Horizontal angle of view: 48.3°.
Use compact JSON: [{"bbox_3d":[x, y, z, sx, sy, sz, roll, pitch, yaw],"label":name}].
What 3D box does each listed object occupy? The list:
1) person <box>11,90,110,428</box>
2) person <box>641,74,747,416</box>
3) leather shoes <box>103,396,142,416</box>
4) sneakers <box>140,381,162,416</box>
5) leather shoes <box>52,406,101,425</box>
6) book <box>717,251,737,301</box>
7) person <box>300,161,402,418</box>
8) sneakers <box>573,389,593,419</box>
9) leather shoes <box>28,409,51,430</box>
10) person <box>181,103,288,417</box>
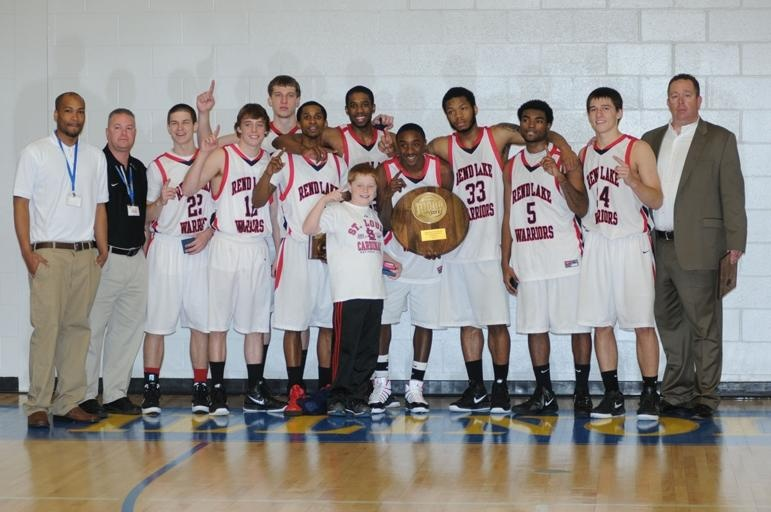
[{"bbox_3d":[-2.749,0.032,7.322,0.755,2.801,0.505,-3,7,-21],"label":"person"},{"bbox_3d":[2.662,-0.092,7.414,0.804,2.904,0.579,1,6,16],"label":"person"},{"bbox_3d":[-2.376,1.352,7.684,0.370,0.147,0.149,-1,-6,18],"label":"leather shoes"},{"bbox_3d":[-2.117,1.278,7.661,0.158,0.250,0.312,-3,8,-18],"label":"sneakers"},{"bbox_3d":[-2.670,1.394,7.429,0.423,0.179,0.162,-3,-2,10],"label":"leather shoes"},{"bbox_3d":[2.911,0.225,7.356,0.035,0.362,0.361,11,12,26],"label":"book"},{"bbox_3d":[-0.341,0.307,7.429,0.631,2.160,0.305,-1,6,-3],"label":"person"},{"bbox_3d":[1.726,1.322,7.558,0.138,0.174,0.402,-1,-8,7],"label":"sneakers"},{"bbox_3d":[-2.922,1.387,7.181,0.194,0.124,0.207,-2,8,-14],"label":"leather shoes"},{"bbox_3d":[-1.376,0.033,7.621,0.719,2.714,0.412,-2,6,-11],"label":"person"}]
